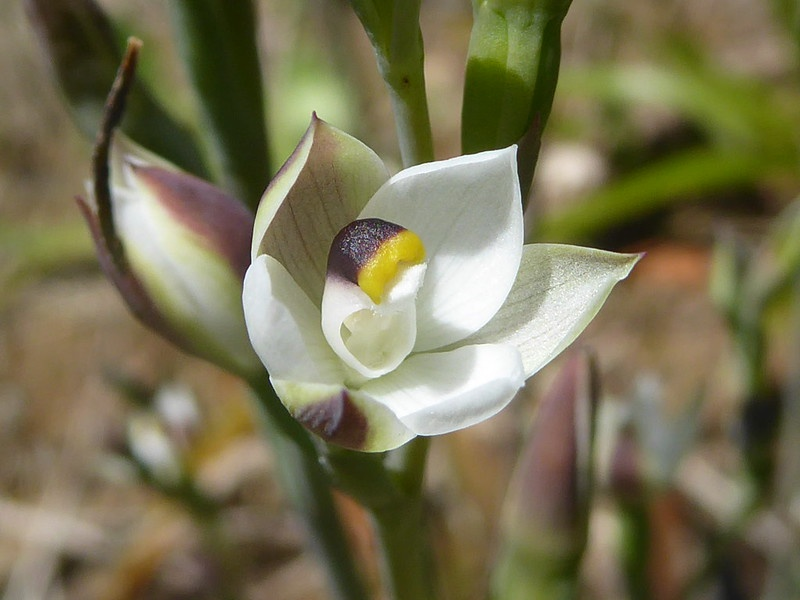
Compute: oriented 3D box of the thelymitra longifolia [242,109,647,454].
[{"bbox_3d":[0.003,-0.007,0.455,0.147,0.088,0.162,42,75,12],"label":"thelymitra longifolia"}]
